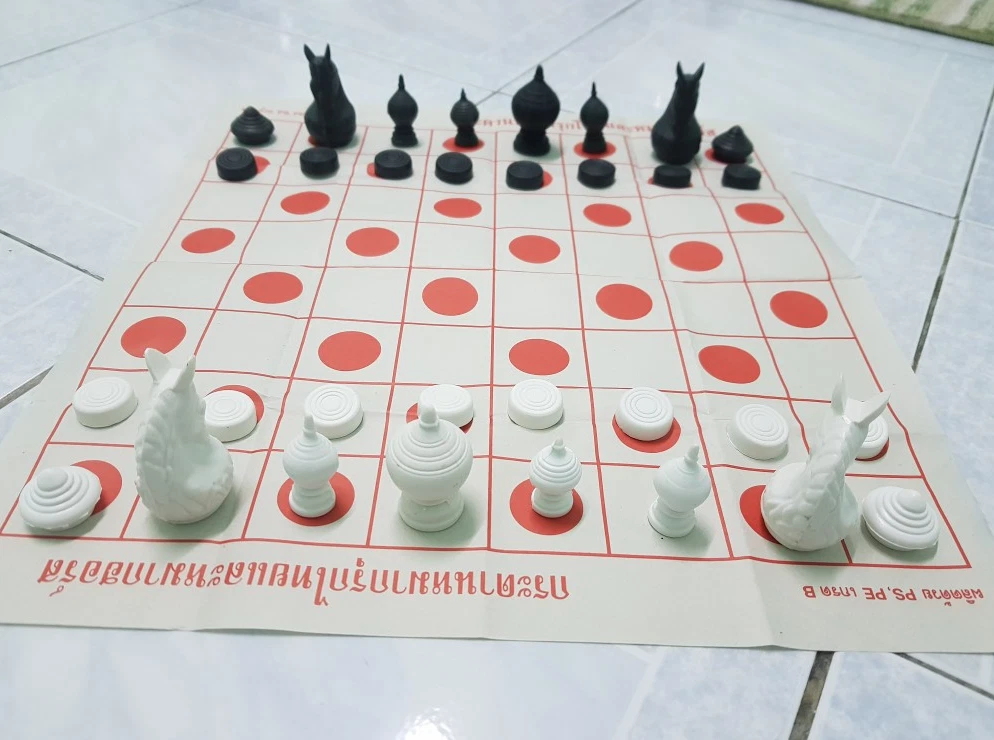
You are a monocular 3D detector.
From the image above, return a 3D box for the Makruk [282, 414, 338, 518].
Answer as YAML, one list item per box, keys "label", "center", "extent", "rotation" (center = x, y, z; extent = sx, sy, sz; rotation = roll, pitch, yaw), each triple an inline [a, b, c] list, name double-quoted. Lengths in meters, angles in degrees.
- label: "Makruk"
  center: [-0.381, 0.191, 1.675]
  extent: [0.116, 0.203, 0.112]
  rotation: [6, 24, 6]

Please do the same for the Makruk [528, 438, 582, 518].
- label: "Makruk"
  center: [0.120, 0.217, 1.682]
  extent: [0.104, 0.165, 0.098]
  rotation: [8, 30, 6]

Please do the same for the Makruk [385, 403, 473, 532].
- label: "Makruk"
  center: [-0.138, 0.187, 1.657]
  extent: [0.177, 0.273, 0.170]
  rotation: [8, 38, 6]

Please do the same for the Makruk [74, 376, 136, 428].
- label: "Makruk"
  center: [-0.875, 0.072, 1.821]
  extent: [0.127, 0.048, 0.114]
  rotation: [-16, 52, -24]

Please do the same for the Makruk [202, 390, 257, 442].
- label: "Makruk"
  center: [-0.605, 0.092, 1.805]
  extent: [0.123, 0.028, 0.121]
  rotation: [7, 40, -14]

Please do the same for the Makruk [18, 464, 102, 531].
- label: "Makruk"
  center: [-0.888, 0.275, 1.676]
  extent: [0.130, 0.085, 0.134]
  rotation: [5, 42, 1]
